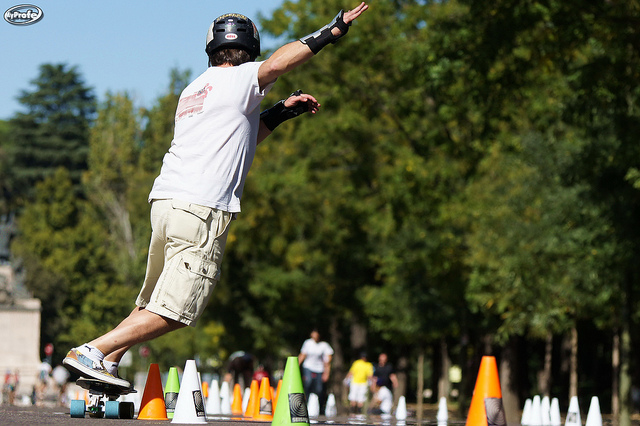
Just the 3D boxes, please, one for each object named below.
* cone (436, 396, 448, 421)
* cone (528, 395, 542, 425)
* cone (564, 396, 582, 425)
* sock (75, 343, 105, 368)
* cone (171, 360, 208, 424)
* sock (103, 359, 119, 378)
[{"bbox_3d":[2.378,3.799,27.580,0.185,0.514,0.504,1,-15,3],"label":"cone"},{"bbox_3d":[4.106,3.750,27.004,0.263,0.597,0.431,-1,-15,9],"label":"cone"},{"bbox_3d":[4.755,3.696,26.578,0.290,0.608,0.647,-1,-16,10],"label":"cone"},{"bbox_3d":[-3.787,2.262,23.206,0.590,0.252,0.199,40,-4,-7],"label":"sock"},{"bbox_3d":[-2.338,3.013,23.520,0.845,1.478,0.843,0,-3,-4],"label":"cone"},{"bbox_3d":[-3.471,2.535,23.205,0.124,0.277,0.343,-8,-18,31],"label":"sock"}]
